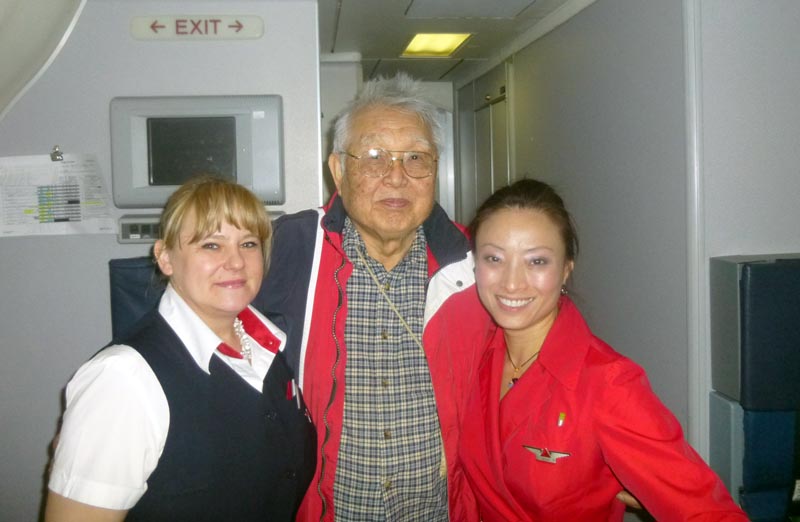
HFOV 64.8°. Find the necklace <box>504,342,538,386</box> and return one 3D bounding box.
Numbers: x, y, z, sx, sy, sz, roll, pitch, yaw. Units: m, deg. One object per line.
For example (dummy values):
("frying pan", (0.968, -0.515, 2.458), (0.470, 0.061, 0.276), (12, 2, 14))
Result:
("necklace", (0.506, 0.454, 2.695), (0.123, 0.177, 0.055), (-3, -23, 37))
